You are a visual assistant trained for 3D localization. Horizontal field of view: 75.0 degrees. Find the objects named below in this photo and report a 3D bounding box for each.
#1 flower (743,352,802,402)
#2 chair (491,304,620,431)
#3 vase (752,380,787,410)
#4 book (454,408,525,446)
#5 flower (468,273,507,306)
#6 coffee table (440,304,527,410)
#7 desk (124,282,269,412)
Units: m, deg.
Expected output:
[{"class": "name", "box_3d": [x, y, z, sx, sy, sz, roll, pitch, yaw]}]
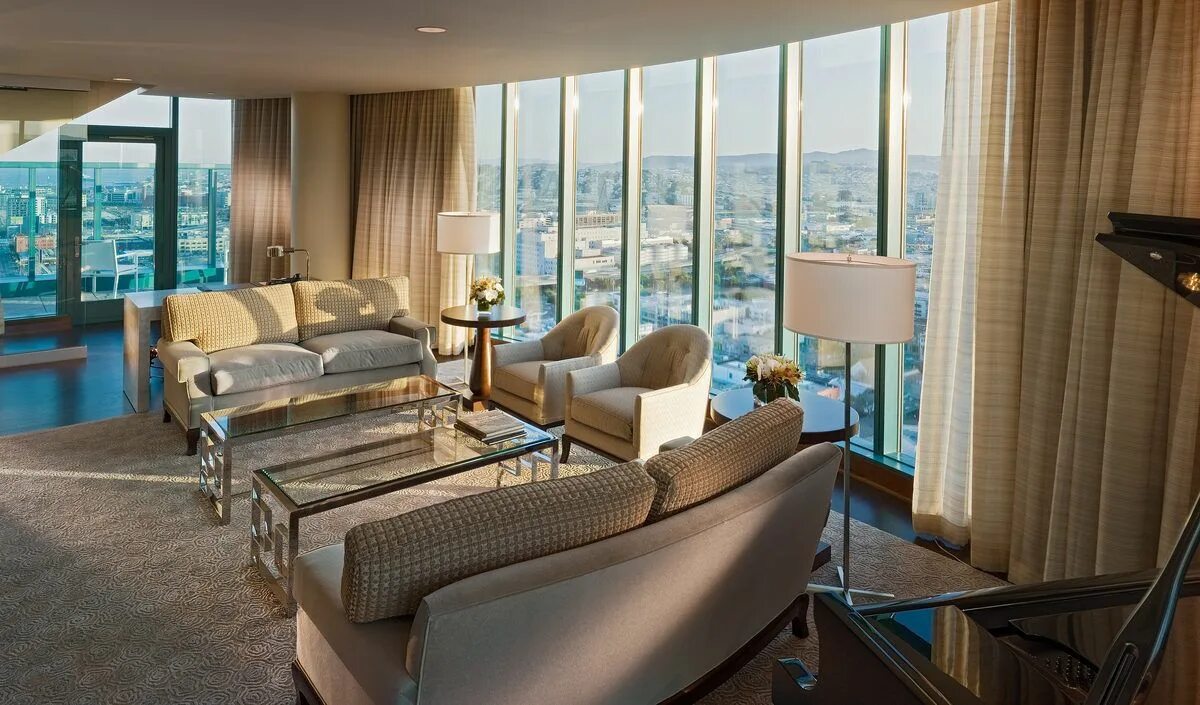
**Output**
[{"class": "flower", "box_3d": [1.196, 0.159, 5.559, 0.379, 0.272, 0.358, 0, 6, -9]}, {"class": "chair", "box_3d": [-0.361, 0.079, 7.222, 1.186, 1.170, 1.097, 2, 5, -37]}, {"class": "vase", "box_3d": [1.172, 0.292, 5.473, 0.225, 0.154, 0.220, -1, 4, 6]}, {"class": "book", "box_3d": [-0.824, 0.527, 5.645, 0.301, 0.067, 0.294, -7, 15, -41]}, {"class": "flower", "box_3d": [-1.141, -0.629, 7.789, 0.341, 0.299, 0.323, 3, 1, -15]}, {"class": "coffee table", "box_3d": [-1.175, -0.006, 7.853, 0.998, 0.976, 0.946, -5, 9, -35]}, {"class": "desk", "box_3d": [-3.515, -0.035, 6.814, 1.150, 0.885, 0.577, -6, 16, -43]}]
